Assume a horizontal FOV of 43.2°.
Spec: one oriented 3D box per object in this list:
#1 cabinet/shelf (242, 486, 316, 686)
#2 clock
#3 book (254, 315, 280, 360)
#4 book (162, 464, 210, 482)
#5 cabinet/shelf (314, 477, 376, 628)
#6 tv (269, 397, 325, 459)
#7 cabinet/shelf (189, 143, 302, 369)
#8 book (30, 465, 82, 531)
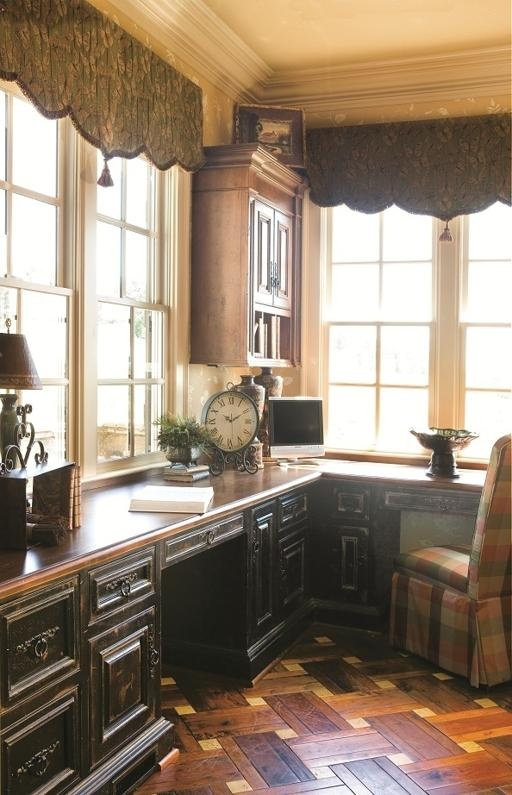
[{"bbox_3d":[0.095,0.887,2.985,0.257,0.809,0.780,-1,2,16],"label":"cabinet/shelf"},{"bbox_3d":[-0.123,0.188,3.237,0.244,0.434,0.135,3,-21,-10],"label":"clock"},{"bbox_3d":[0.058,-0.343,3.714,0.024,0.285,0.266,1,-1,25],"label":"book"},{"bbox_3d":[-0.321,0.351,2.955,0.155,0.069,0.235,1,-1,18],"label":"book"},{"bbox_3d":[0.490,0.837,3.620,0.345,0.680,0.381,0,-5,30],"label":"cabinet/shelf"},{"bbox_3d":[0.238,0.146,3.690,0.309,0.351,0.138,-1,21,8],"label":"tv"},{"bbox_3d":[-0.042,-0.746,3.675,0.413,1.185,0.938,1,-1,20],"label":"cabinet/shelf"},{"bbox_3d":[-0.557,0.277,1.886,0.156,0.253,0.180,2,-2,-13],"label":"book"}]
